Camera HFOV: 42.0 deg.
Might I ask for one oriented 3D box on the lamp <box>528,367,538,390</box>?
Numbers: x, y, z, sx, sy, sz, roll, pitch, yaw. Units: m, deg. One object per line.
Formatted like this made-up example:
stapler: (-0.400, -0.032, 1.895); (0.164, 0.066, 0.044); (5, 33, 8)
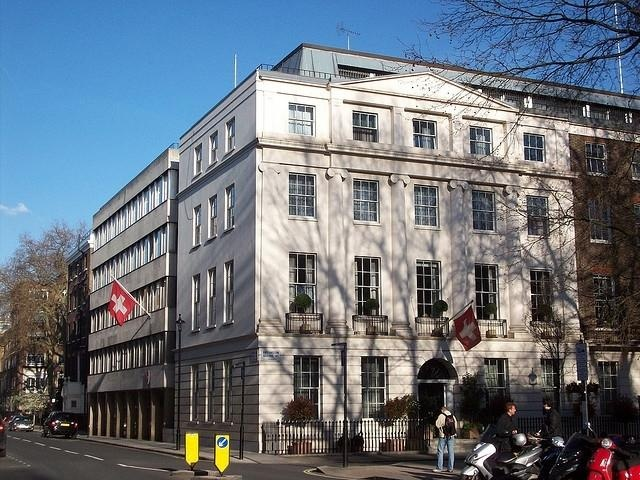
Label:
lamp: (12.780, 8.192, 50.044); (0.589, 1.134, 1.297); (-6, -20, 14)

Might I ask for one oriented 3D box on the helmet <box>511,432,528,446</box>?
helmet: (6.230, 6.276, 26.130); (0.308, 0.477, 0.423); (4, 0, -30)

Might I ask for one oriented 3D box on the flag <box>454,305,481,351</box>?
flag: (8.459, 5.151, 48.040); (1.653, 2.286, 0.241); (-26, -6, 5)

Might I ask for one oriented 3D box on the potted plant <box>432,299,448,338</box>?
potted plant: (7.121, 4.496, 49.271); (1.128, 2.102, 1.125); (0, 1, -44)

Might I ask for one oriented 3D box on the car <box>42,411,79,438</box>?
car: (-19.902, 14.304, 64.478); (2.546, 2.067, 1.207); (-11, -20, 23)

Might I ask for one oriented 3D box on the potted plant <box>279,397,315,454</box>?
potted plant: (-0.895, 9.828, 45.566); (1.834, 3.529, 1.949); (2, 13, 3)

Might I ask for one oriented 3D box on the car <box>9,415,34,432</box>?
car: (-30.764, 19.006, 86.446); (1.477, 1.338, 2.954); (6, -23, -23)

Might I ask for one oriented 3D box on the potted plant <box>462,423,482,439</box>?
potted plant: (8.685, 11.130, 47.405); (0.631, 1.000, 1.205); (-10, -13, 38)

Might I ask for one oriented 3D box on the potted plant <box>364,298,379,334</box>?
potted plant: (3.051, 4.417, 47.786); (0.858, 2.000, 0.699); (3, -18, -15)

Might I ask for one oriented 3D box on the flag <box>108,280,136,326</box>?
flag: (-14.100, 4.376, 59.096); (1.944, 3.803, 0.331); (-13, -39, -8)

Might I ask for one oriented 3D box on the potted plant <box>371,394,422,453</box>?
potted plant: (4.632, 9.990, 45.847); (1.775, 2.772, 0.841); (-3, -37, 9)

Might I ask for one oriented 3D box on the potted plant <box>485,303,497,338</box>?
potted plant: (10.375, 4.851, 50.164); (0.895, 2.076, 0.641); (1, -18, -9)
